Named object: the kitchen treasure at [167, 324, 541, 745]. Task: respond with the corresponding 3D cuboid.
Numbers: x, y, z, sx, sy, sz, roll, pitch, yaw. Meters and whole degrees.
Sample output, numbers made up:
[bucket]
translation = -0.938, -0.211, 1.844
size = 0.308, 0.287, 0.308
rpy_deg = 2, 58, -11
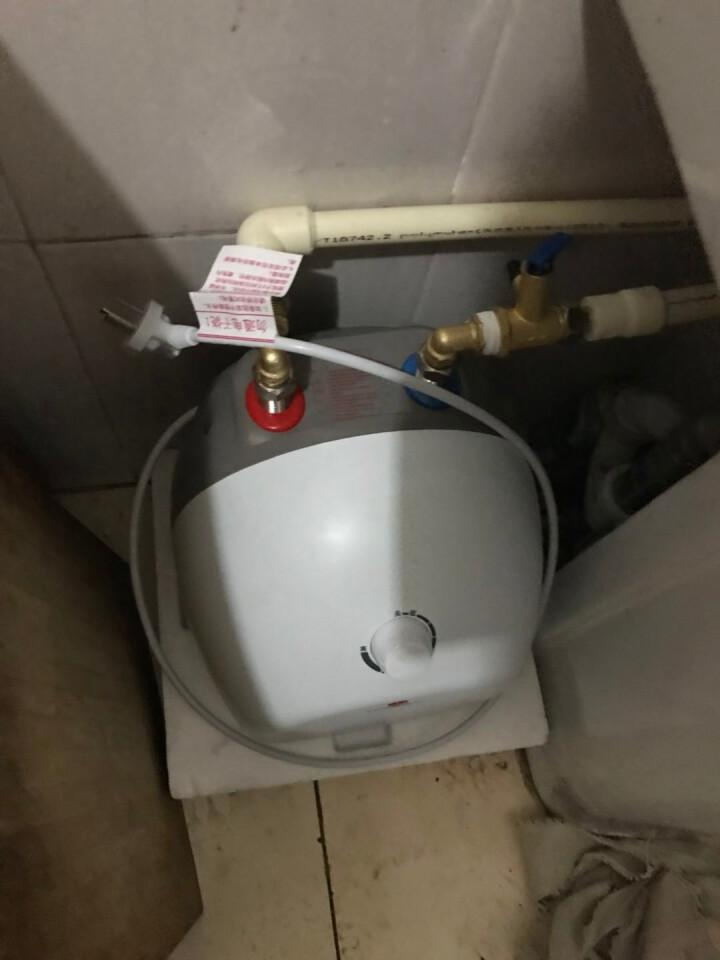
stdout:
[kitchen treasure]
translation = -0.011, 0.061, 0.995
size = 0.434, 0.238, 0.352
rpy_deg = -9, 101, -11
